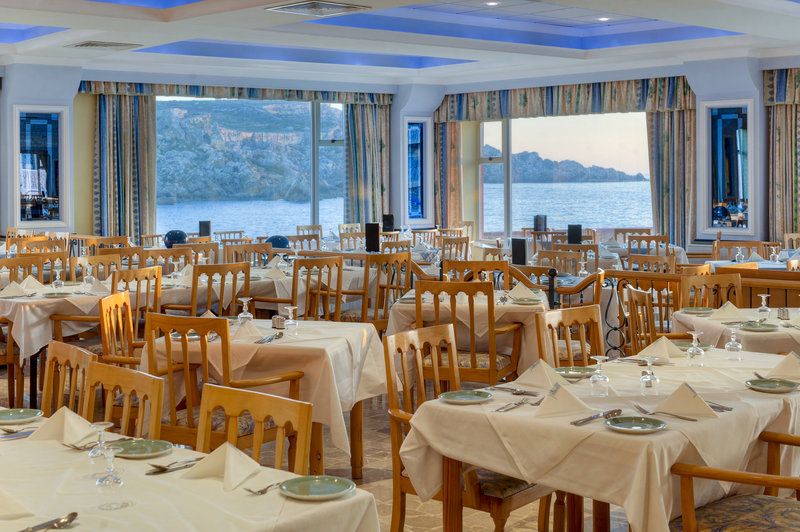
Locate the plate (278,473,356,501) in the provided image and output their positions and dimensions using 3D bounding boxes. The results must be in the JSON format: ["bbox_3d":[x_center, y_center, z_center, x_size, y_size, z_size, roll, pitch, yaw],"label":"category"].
[{"bbox_3d":[-0.264,0.707,2.211,0.241,0.042,0.154,-2,2,-12],"label":"plate"}]

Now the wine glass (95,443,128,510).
[{"bbox_3d":[-0.951,0.696,2.262,0.094,0.150,0.102,6,-20,-36],"label":"wine glass"}]

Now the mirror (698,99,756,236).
[{"bbox_3d":[4.683,-1.377,9.867,0.754,1.964,0.223,0,3,27],"label":"mirror"}]

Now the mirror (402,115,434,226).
[{"bbox_3d":[0.322,-1.720,12.722,0.665,2.001,0.320,-2,3,-12],"label":"mirror"}]

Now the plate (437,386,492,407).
[{"bbox_3d":[0.301,0.577,3.058,0.225,0.031,0.250,-1,2,18],"label":"plate"}]

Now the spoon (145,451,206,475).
[{"bbox_3d":[-0.786,0.690,2.406,0.024,0.028,0.183,17,18,30],"label":"spoon"}]

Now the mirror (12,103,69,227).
[{"bbox_3d":[-5.245,-1.423,10.077,0.817,1.884,0.140,-1,-3,-14],"label":"mirror"}]
